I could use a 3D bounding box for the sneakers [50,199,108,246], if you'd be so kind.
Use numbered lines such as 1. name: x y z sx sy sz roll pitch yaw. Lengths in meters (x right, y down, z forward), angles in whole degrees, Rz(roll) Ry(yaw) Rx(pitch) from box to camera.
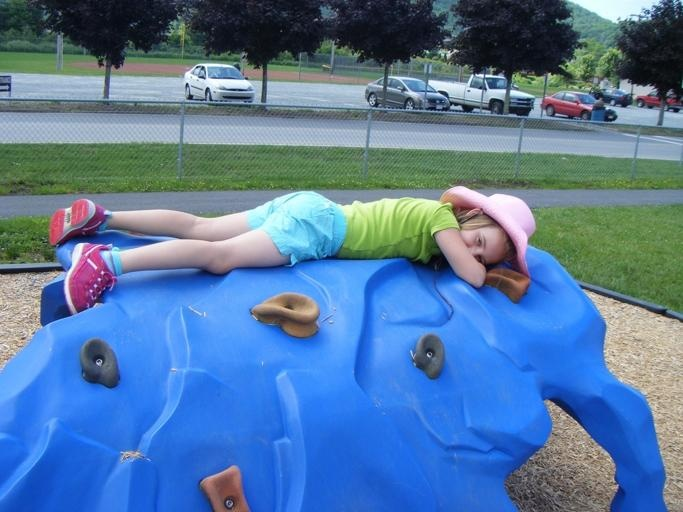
1. sneakers: -1.581 -0.191 3.883 0.370 0.309 0.202 12 17 18

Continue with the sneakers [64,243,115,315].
1. sneakers: -1.296 0.122 3.473 0.192 0.174 0.469 -5 51 3

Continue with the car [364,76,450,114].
1. car: 2.549 -6.517 26.600 3.495 1.315 1.978 22 23 39

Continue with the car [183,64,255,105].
1. car: -4.539 -6.237 24.041 1.721 1.405 3.281 -4 21 -32

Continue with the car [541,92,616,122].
1. car: 11.090 -7.348 32.129 2.658 1.240 1.735 17 20 30

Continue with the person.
1. person: -0.245 -0.130 3.867 2.386 0.721 1.167 -4 14 -18
